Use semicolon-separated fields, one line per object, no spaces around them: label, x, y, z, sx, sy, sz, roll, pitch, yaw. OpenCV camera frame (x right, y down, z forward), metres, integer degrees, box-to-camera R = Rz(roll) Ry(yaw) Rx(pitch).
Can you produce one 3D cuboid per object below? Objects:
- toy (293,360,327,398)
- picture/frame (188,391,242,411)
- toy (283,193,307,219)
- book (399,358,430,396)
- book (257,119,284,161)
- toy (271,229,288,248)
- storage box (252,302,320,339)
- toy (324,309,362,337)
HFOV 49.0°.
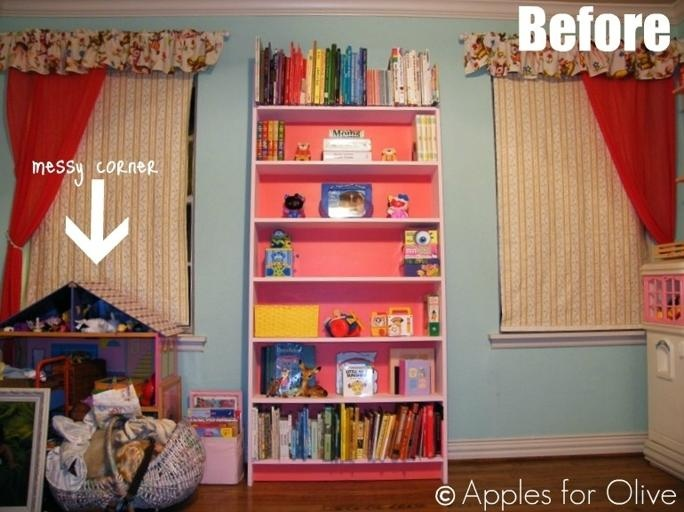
toy;-0.238;0.955;5.861;0.218;0.259;0.259;1;-4;-8
picture/frame;-1.011;1.132;5.941;0.421;0.132;0.076;1;-4;4
toy;-0.389;-0.391;5.980;0.165;0.245;0.188;0;-2;-4
book;0.561;0.947;5.874;0.231;0.264;0.187;1;-6;-9
book;-0.560;-0.898;5.863;0.239;0.398;0.269;0;2;-2
toy;-0.491;-0.139;5.940;0.147;0.160;0.199;1;-4;-6
storage box;-0.436;0.503;5.765;0.483;0.262;0.113;2;-4;-10
toy;0.004;0.532;5.893;0.291;0.199;0.240;1;-4;-1
